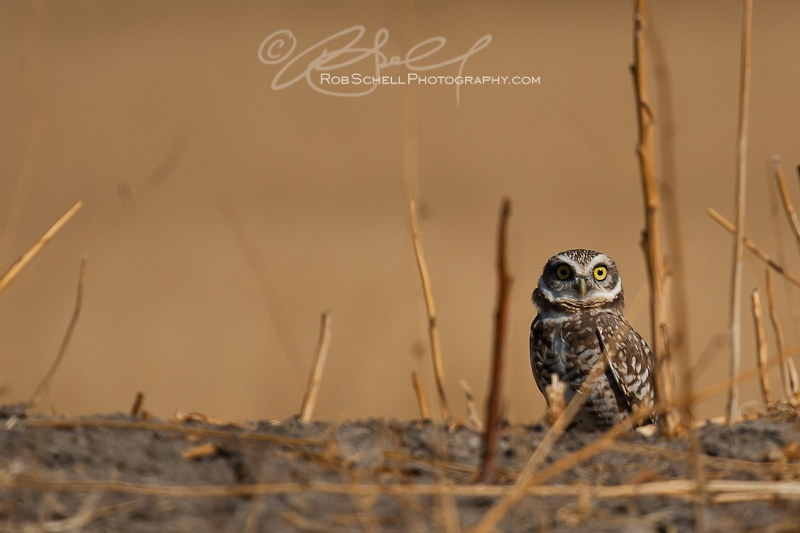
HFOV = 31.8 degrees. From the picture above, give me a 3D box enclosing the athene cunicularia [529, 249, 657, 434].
[{"bbox_3d":[0.529,0.203,3.878,0.340,0.429,0.324,-3,-37,1],"label":"athene cunicularia"}]
